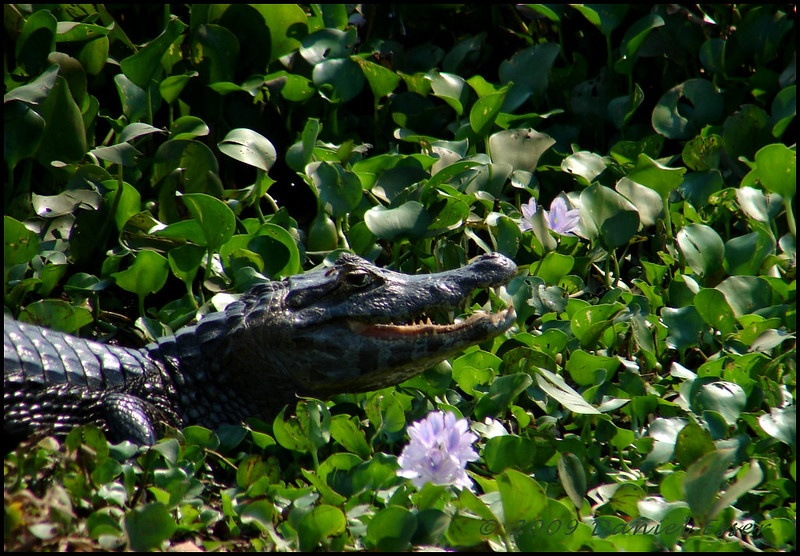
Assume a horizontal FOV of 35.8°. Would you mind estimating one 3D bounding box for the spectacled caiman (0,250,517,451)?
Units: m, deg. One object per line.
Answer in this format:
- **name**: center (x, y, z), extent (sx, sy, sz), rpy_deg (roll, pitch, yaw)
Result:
- **spectacled caiman**: center (-0.639, 0.340, 5.890), extent (2.551, 0.843, 0.977), rpy_deg (-9, 19, 6)
